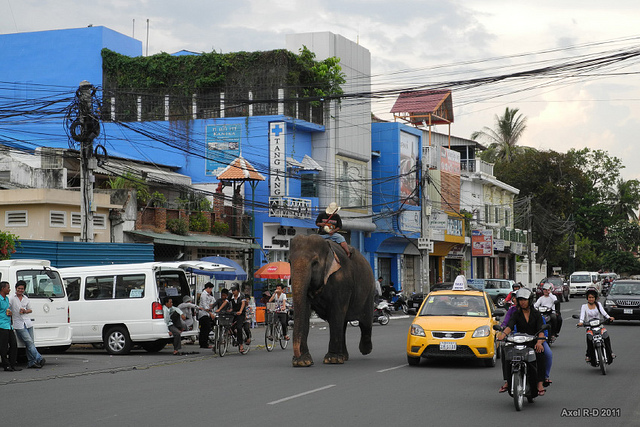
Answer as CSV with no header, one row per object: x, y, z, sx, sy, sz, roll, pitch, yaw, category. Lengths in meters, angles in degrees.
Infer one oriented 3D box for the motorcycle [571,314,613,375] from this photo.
8.620,4.113,29.270,1.126,1.767,0.626,4,-7,-36,motorcycle

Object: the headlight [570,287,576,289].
20.052,5.968,74.786,0.104,0.114,0.639,3,-7,-33,headlight

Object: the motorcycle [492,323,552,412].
5.426,4.175,25.370,0.874,2.248,1.282,-6,-8,41,motorcycle

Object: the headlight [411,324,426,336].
3.085,3.715,29.890,0.173,0.352,0.609,4,-7,-36,headlight

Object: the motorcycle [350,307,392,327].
2.816,5.081,46.567,2.070,1.281,1.165,4,-10,-27,motorcycle

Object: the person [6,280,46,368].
-9.606,3.630,30.635,0.596,2.798,1.233,-4,-7,30,person

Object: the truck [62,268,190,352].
-7.031,3.405,34.670,4.147,2.122,2.723,2,-3,18,truck

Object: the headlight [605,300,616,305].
13.099,4.042,42.659,0.203,0.204,0.570,3,-7,-26,headlight

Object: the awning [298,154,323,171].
-0.586,-2.966,55.532,1.089,0.438,1.444,3,4,-12,awning

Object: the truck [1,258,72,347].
-10.081,2.933,32.589,2.030,1.882,3.089,-1,1,-32,truck

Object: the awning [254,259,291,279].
-2.258,2.840,47.283,1.516,0.863,2.348,-1,-6,8,awning

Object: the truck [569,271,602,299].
21.459,5.432,76.394,1.879,1.844,3.917,-2,8,27,truck

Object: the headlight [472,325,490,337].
5.073,3.714,29.635,0.584,0.369,0.192,4,-7,-34,headlight

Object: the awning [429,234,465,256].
9.157,2.320,69.412,2.036,1.468,5.533,-3,-6,20,awning

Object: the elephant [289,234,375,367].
0.253,3.003,32.319,2.332,4.292,5.593,-3,-6,22,elephant

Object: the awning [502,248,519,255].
17.150,3.493,85.374,1.025,0.499,3.728,-2,-6,16,awning

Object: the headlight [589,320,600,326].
8.482,3.396,29.114,0.312,0.171,0.217,-1,-6,9,headlight

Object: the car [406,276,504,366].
4.364,3.704,30.645,2.737,2.455,2.451,-1,-6,10,car

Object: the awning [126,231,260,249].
-6.242,1.350,47.277,1.117,0.659,7.882,-4,-7,33,awning
